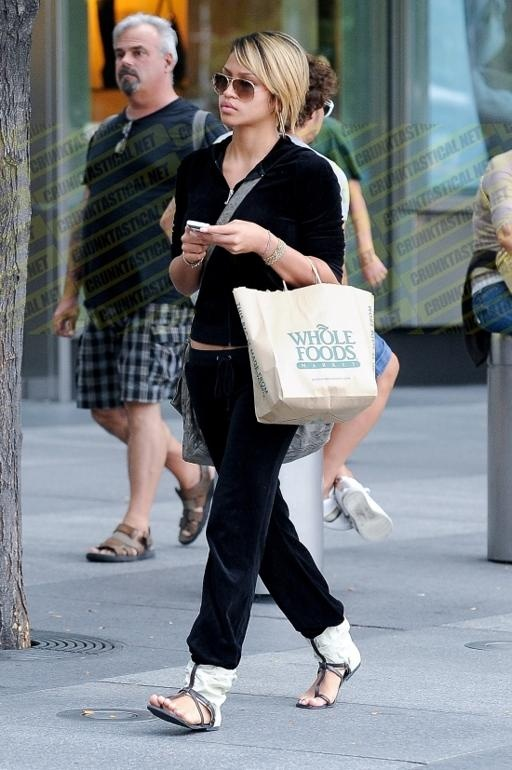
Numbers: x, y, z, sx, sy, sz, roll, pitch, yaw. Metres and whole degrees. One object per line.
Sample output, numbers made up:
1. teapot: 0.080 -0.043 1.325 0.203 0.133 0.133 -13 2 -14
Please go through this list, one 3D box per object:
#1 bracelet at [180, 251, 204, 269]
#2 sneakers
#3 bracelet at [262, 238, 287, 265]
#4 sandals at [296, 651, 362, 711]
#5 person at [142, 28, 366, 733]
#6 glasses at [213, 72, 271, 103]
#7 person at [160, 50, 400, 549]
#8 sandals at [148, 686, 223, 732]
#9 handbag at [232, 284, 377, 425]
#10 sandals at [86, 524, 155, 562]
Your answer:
1. bracelet: -0.163 -0.316 2.518 0.044 0.016 0.052 -1 -13 0
2. sneakers: 0.465 0.587 4.472 0.191 0.165 0.444 44 -5 31
3. bracelet: 0.039 -0.316 2.384 0.051 0.056 0.028 -10 44 -33
4. sandals: 0.186 0.761 2.601 0.073 0.079 0.222 12 19 35
5. person: 0.024 -0.031 2.503 0.510 1.780 0.769 0 6 -2
6. glasses: -0.048 -0.779 2.601 0.115 0.042 0.109 10 -6 27
7. person: -0.036 -0.214 4.628 1.110 2.660 0.900 7 22 31
8. sandals: -0.180 0.738 2.255 0.088 0.067 0.189 8 -15 47
9. handbag: 0.111 -0.067 2.288 0.387 0.387 0.157 0 -22 -24
10. sandals: -0.683 0.808 5.052 0.329 0.118 0.159 2 -4 -44
